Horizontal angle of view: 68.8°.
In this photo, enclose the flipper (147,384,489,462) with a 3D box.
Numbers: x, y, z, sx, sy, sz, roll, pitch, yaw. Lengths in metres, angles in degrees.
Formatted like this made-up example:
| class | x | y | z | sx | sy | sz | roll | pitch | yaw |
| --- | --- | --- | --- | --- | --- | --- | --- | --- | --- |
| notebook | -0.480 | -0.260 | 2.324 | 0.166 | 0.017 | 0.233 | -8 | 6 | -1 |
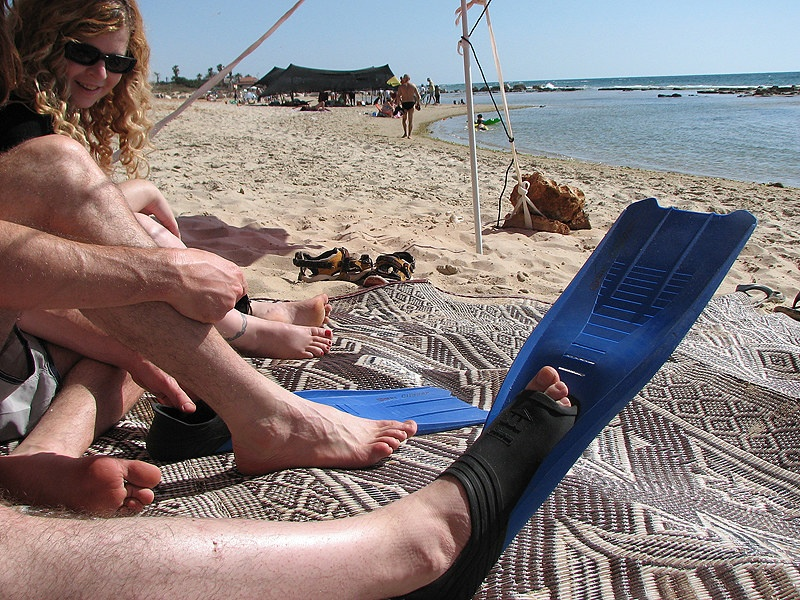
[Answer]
| class | x | y | z | sx | sy | sz | roll | pitch | yaw |
| --- | --- | --- | --- | --- | --- | --- | --- | --- | --- |
| flipper | -0.220 | 0.284 | 1.791 | 0.986 | 0.137 | 0.329 | -1 | 8 | -25 |
